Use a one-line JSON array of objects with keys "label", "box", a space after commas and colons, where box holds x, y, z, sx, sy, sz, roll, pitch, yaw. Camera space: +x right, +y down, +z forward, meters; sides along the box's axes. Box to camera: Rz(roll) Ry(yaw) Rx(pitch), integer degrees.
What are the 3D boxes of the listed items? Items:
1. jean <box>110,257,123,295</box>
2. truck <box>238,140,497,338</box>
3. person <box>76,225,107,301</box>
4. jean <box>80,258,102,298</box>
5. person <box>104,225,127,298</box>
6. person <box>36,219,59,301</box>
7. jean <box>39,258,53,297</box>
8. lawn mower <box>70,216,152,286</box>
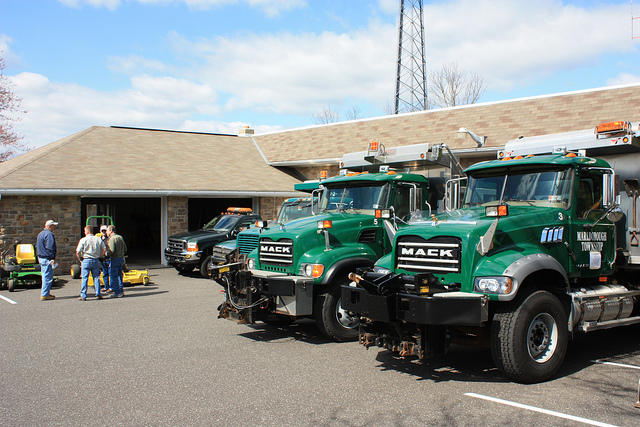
[{"label": "jean", "box": [-6.139, 1.857, 15.282, 0.372, 1.057, 0.326, -4, 7, -32]}, {"label": "truck", "box": [1.249, 0.332, 11.344, 5.587, 3.114, 3.724, 1, -1, -32]}, {"label": "person", "box": [-6.710, 1.421, 14.810, 0.802, 2.131, 0.810, -3, 6, -26]}, {"label": "jean", "box": [-6.662, 1.815, 14.721, 0.599, 1.169, 0.371, -3, 10, -44]}, {"label": "person", "box": [-6.265, 1.452, 15.487, 0.588, 2.092, 1.294, -3, 6, -22]}, {"label": "person", "box": [-8.040, 1.365, 14.936, 0.506, 2.261, 1.214, -4, 7, -29]}, {"label": "jean", "box": [-7.890, 1.825, 14.626, 0.308, 1.058, 0.449, -3, 7, -28]}, {"label": "lawn mower", "box": [-7.943, 1.399, 19.114, 1.562, 2.213, 2.648, 1, -1, 2]}]
